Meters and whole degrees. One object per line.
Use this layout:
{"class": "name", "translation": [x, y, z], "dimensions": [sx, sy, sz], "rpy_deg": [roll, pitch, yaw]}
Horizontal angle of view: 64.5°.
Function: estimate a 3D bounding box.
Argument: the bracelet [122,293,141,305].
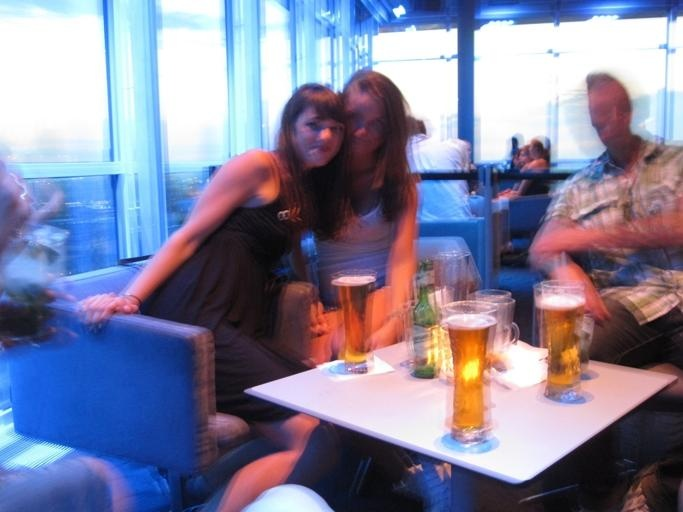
{"class": "bracelet", "translation": [-0.726, 0.145, 1.857], "dimensions": [0.042, 0.043, 0.017], "rpy_deg": [24, 65, 34]}
